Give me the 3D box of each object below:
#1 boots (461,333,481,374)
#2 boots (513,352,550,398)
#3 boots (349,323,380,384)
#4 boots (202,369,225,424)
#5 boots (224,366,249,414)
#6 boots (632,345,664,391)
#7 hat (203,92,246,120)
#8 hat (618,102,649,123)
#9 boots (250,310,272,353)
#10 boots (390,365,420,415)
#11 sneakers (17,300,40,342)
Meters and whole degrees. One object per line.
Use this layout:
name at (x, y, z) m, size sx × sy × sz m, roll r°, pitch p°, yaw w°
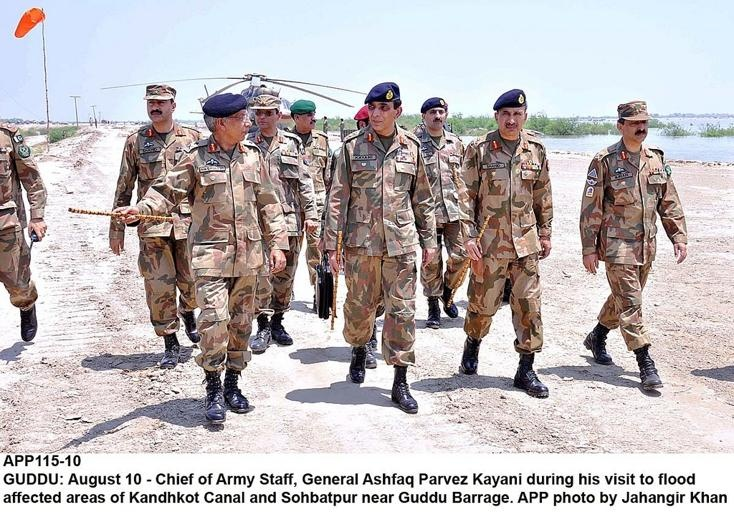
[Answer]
boots at (1.130, 1.090, 6.430) m, size 0.180 × 0.316 × 0.501 m, roll 4°, pitch 16°, yaw 9°
boots at (1.679, 1.231, 6.000) m, size 0.236 × 0.339 × 0.548 m, roll 1°, pitch 4°, yaw -13°
boots at (-0.009, 1.058, 6.391) m, size 0.274 × 0.647 × 0.304 m, roll 1°, pitch -24°, yaw -6°
boots at (-1.396, 1.275, 5.391) m, size 0.195 × 0.448 × 0.389 m, roll 0°, pitch 10°, yaw -14°
boots at (-1.266, 1.292, 5.641) m, size 0.183 × 0.322 × 0.508 m, roll -6°, pitch 12°, yaw -27°
boots at (2.905, 1.130, 6.116) m, size 0.213 × 0.359 × 0.559 m, roll -18°, pitch 8°, yaw 18°
hat at (-1.283, -1.357, 5.312) m, size 0.382 × 0.224 × 0.212 m, roll 0°, pitch 10°, yaw -13°
hat at (2.793, -1.520, 6.176) m, size 0.313 × 0.208 × 0.310 m, roll 6°, pitch 11°, yaw 21°
boots at (-1.283, 0.965, 7.172) m, size 0.208 × 0.214 × 0.561 m, roll 1°, pitch 7°, yaw 4°
boots at (0.377, 1.296, 5.726) m, size 0.218 × 0.346 × 0.544 m, roll -3°, pitch 4°, yaw -12°
sneakers at (-4.098, 0.790, 7.128) m, size 0.198 × 0.472 × 0.207 m, roll -8°, pitch 2°, yaw -5°
